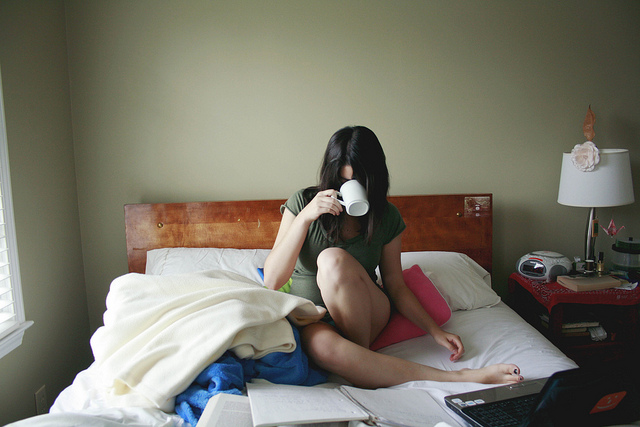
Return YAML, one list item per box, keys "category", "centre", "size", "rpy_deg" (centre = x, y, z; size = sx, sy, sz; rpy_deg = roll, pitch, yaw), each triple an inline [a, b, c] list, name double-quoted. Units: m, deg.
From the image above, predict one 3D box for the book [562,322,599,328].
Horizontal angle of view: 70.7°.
- category: "book"
  centre: [1.600, 0.679, 2.749]
  size: [0.081, 0.018, 0.081]
  rpy_deg: [-2, -1, 5]

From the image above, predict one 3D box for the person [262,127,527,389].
- category: "person"
  centre: [0.281, 0.179, 2.180]
  size: [1.043, 1.239, 1.350]
  rpy_deg: [3, -1, -11]

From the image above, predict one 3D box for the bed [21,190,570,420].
- category: "bed"
  centre: [0.047, 0.366, 2.593]
  size: [2.700, 0.938, 1.459]
  rpy_deg: [-6, 11, -9]

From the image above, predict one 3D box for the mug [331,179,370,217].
- category: "mug"
  centre: [0.137, -0.076, 2.075]
  size: [0.128, 0.156, 0.160]
  rpy_deg: [-5, 6, -7]
